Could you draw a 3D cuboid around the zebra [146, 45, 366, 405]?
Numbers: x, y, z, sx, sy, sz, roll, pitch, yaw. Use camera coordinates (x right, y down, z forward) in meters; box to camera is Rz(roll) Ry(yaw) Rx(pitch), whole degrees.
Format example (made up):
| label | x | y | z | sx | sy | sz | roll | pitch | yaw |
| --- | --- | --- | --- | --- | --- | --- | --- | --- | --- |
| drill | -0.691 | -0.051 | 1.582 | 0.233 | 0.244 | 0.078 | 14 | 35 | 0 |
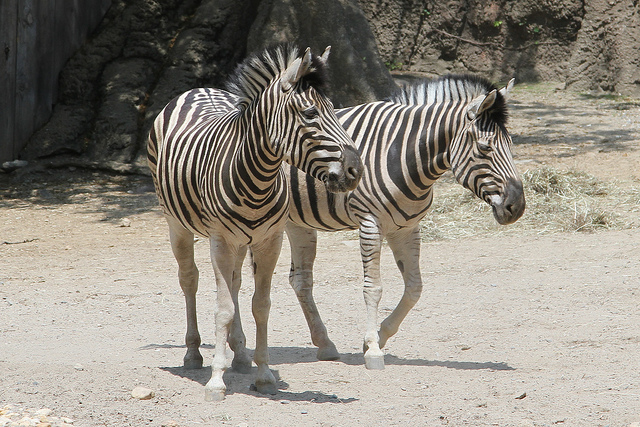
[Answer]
| label | x | y | z | sx | sy | sz | roll | pitch | yaw |
| --- | --- | --- | --- | --- | --- | --- | --- | --- | --- |
| zebra | -0.660 | 0.107 | 9.174 | 1.406 | 2.967 | 4.109 | -1 | 1 | -21 |
